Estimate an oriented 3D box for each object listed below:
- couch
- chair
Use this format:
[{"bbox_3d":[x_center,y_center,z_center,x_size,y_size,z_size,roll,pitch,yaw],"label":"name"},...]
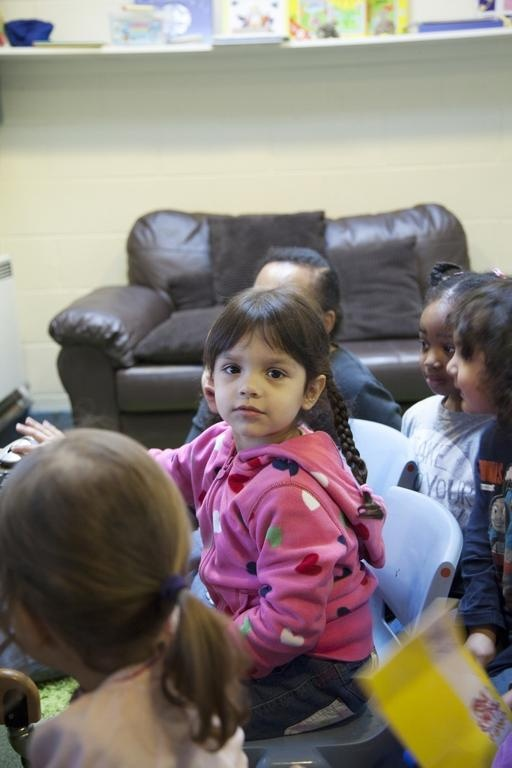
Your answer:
[{"bbox_3d":[0.146,-0.199,2.558,1.706,0.891,0.795,-1,20,6],"label":"couch"},{"bbox_3d":[0.094,0.221,1.019,0.417,0.558,0.344,7,4,-35],"label":"chair"}]
